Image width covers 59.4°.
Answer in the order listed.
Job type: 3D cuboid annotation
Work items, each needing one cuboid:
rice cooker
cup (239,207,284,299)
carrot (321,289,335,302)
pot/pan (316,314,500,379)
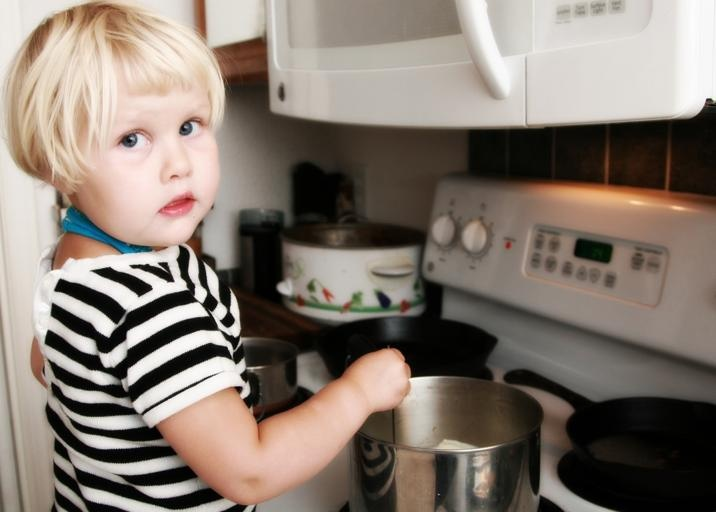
[{"bbox_3d":[-0.015,0.044,1.522,0.428,0.187,0.386,-4,9,-35],"label":"rice cooker"},{"bbox_3d":[-0.253,-0.010,1.760,0.106,0.246,0.152,-5,14,-18],"label":"cup"},{"bbox_3d":[-0.067,0.082,1.388,0.018,0.033,0.009,-30,-5,34],"label":"carrot"},{"bbox_3d":[0.071,0.216,1.406,0.403,0.098,0.512,6,-13,-43],"label":"pot/pan"}]
